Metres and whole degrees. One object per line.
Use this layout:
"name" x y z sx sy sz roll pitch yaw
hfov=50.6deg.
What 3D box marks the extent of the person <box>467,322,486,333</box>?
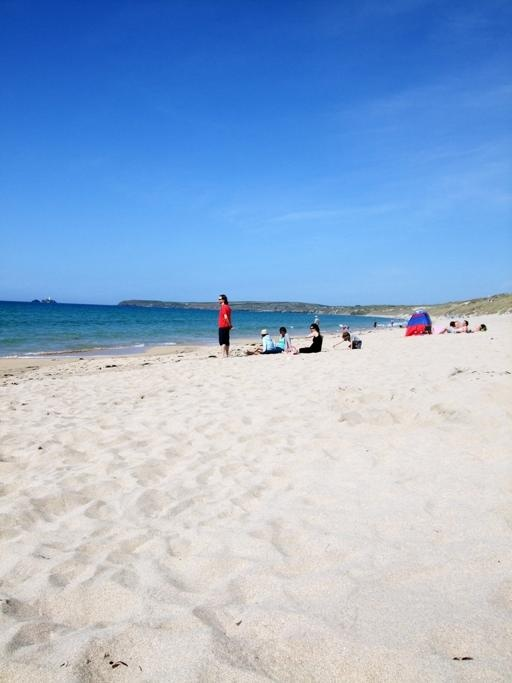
"person" 6.901 -0.439 17.039 0.631 0.290 0.810 1 2 4
